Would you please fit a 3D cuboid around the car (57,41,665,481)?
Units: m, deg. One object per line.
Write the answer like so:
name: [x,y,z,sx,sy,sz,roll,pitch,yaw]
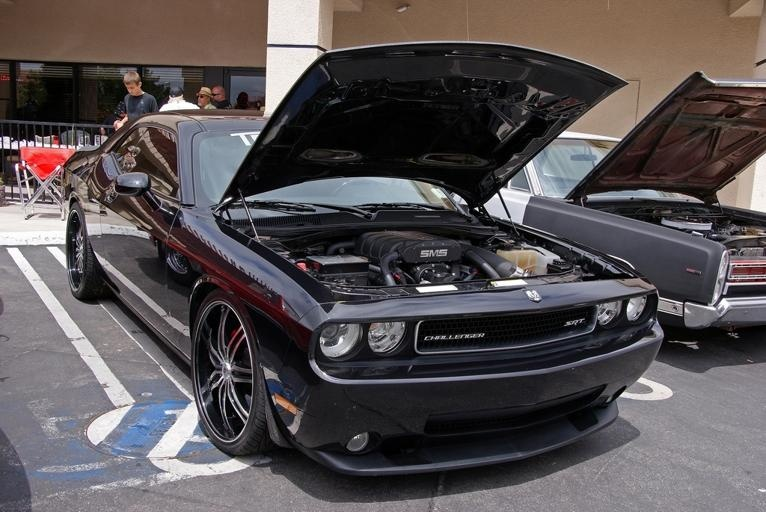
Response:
car: [-0.659,-0.269,3.752,2.422,1.485,4.300,-3,14,-38]
